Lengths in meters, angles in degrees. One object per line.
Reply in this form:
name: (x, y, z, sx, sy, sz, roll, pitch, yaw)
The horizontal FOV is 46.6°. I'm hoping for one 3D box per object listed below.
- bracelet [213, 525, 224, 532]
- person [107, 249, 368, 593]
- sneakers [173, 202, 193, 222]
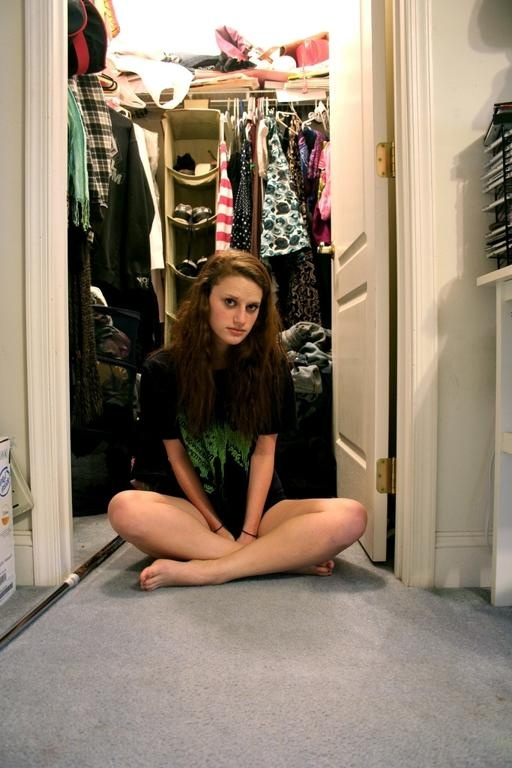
bracelet: (-0.090, 0.351, 1.431, 0.034, 0.015, 0.012, -2, 6, -15)
person: (-0.052, 0.054, 1.406, 0.554, 0.814, 0.564, -6, -9, 31)
sneakers: (-0.352, -0.838, 2.877, 0.066, 0.054, 0.117, 7, 26, -9)
